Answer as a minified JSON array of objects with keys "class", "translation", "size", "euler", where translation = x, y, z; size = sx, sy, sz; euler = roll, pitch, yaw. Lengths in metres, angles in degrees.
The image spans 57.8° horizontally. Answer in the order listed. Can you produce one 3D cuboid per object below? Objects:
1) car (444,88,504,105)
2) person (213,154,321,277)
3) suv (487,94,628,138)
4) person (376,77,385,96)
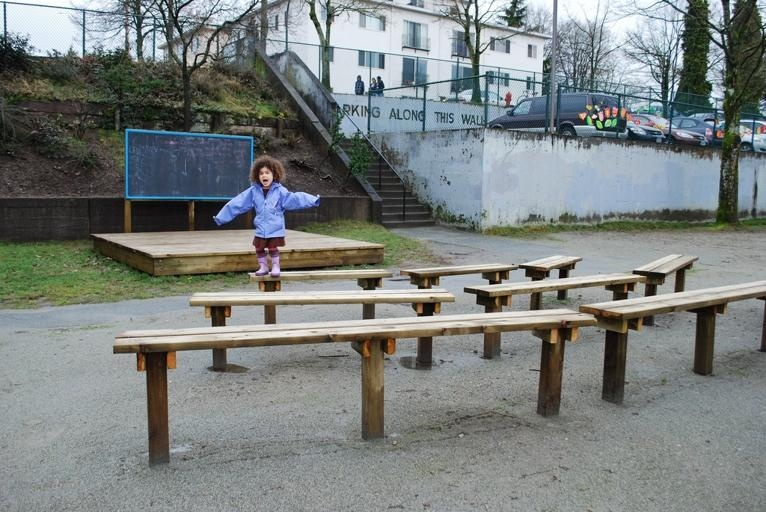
[{"class":"car","translation":[3.273,-5.729,25.330],"size":[2.052,0.673,0.980],"euler":[-7,14,-18]},{"class":"person","translation":[-1.751,-0.609,10.392],"size":[1.366,1.703,0.453],"euler":[-4,10,-12]},{"class":"suv","translation":[5.971,-5.026,24.436],"size":[4.374,1.601,2.424],"euler":[11,15,34]},{"class":"person","translation":[-0.156,-6.314,25.907],"size":[0.343,0.427,0.881],"euler":[20,22,-3]}]
